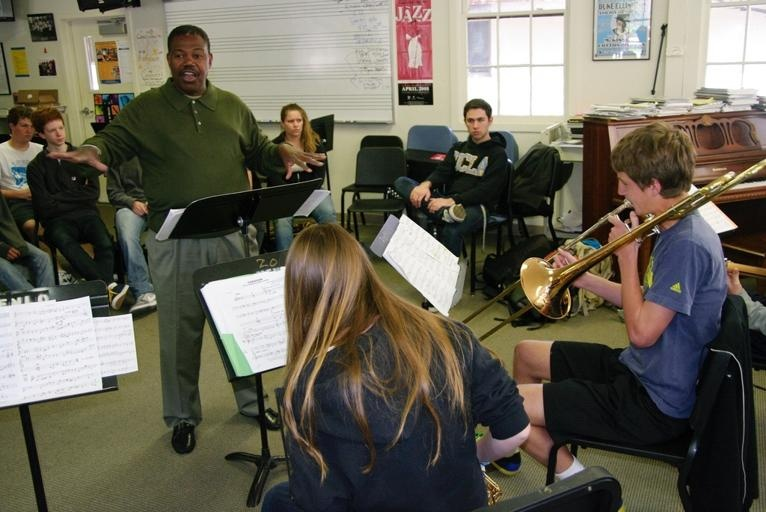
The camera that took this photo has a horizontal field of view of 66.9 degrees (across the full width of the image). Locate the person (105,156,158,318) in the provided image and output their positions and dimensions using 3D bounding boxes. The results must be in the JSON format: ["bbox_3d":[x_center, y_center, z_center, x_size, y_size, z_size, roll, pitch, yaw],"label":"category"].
[{"bbox_3d":[-2.025,-0.122,4.635,0.440,1.370,0.363,-5,-11,-34],"label":"person"}]

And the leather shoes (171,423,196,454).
[{"bbox_3d":[-1.152,1.056,3.328,0.105,0.084,0.195,1,32,-17],"label":"leather shoes"}]

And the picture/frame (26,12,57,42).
[{"bbox_3d":[-4.832,-3.261,8.188,0.384,0.398,0.029,8,23,23],"label":"picture/frame"}]

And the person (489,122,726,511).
[{"bbox_3d":[1.033,0.380,2.692,1.016,1.873,0.745,6,7,24],"label":"person"}]

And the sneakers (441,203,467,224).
[{"bbox_3d":[0.608,-0.350,4.872,0.093,0.111,0.254,21,3,-9],"label":"sneakers"}]

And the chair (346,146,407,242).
[{"bbox_3d":[-0.129,-0.588,5.888,0.776,0.994,0.789,-3,10,-9],"label":"chair"}]

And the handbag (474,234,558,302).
[{"bbox_3d":[1.097,0.058,4.889,0.620,0.210,0.481,-36,20,4],"label":"handbag"}]

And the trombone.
[{"bbox_3d":[1.405,-0.041,3.604,1.927,0.564,0.518,-34,-42,30],"label":"trombone"}]

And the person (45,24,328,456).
[{"bbox_3d":[-1.063,-0.062,3.205,1.462,2.376,0.769,-12,15,-41],"label":"person"}]

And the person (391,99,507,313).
[{"bbox_3d":[0.593,-0.559,5.272,0.838,1.666,0.947,17,18,35],"label":"person"}]

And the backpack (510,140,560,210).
[{"bbox_3d":[1.449,-0.748,5.516,0.236,0.652,0.494,24,-1,-37],"label":"backpack"}]
